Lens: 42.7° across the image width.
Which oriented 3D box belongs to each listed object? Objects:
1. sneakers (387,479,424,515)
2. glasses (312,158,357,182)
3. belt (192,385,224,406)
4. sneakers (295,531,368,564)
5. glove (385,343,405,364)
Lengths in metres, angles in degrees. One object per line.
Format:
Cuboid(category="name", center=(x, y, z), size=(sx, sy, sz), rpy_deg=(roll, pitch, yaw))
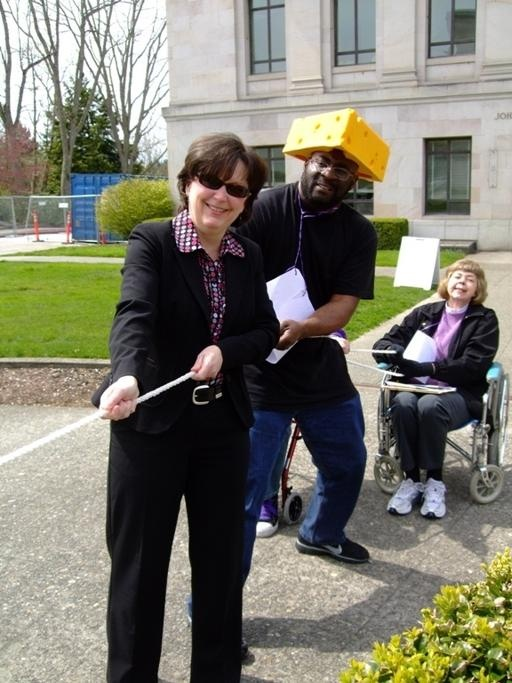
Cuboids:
Cuboid(category="sneakers", center=(0.929, 0.970, 4.057), size=(0.127, 0.122, 0.295), rpy_deg=(3, 0, 26))
Cuboid(category="glasses", center=(0.341, -0.787, 3.007), size=(0.204, 0.102, 0.119), rpy_deg=(1, 11, 3))
Cuboid(category="belt", center=(-0.150, 0.160, 2.008), size=(0.036, 0.070, 0.141), rpy_deg=(7, 12, 28))
Cuboid(category="sneakers", center=(0.401, 1.095, 3.511), size=(0.382, 0.118, 0.131), rpy_deg=(0, 0, 14))
Cuboid(category="glove", center=(0.917, 0.085, 4.374), size=(0.066, 0.139, 0.126), rpy_deg=(12, -11, -29))
